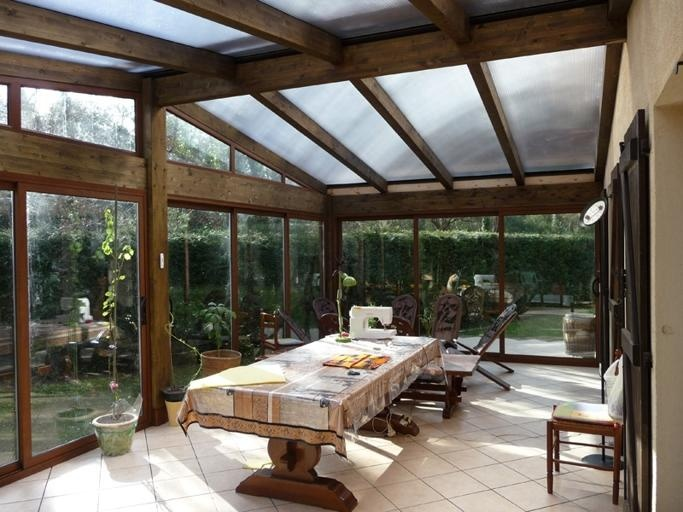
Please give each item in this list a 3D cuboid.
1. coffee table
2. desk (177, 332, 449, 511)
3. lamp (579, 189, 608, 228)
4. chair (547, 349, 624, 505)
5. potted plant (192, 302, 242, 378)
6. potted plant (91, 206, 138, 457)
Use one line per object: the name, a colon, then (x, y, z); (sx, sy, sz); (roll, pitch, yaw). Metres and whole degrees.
coffee table: (1.188, 1.544, 6.002); (0.788, 0.585, 1.380); (-1, 0, 23)
desk: (-0.406, 1.178, 3.782); (1.215, 0.564, 2.078); (0, 0, 20)
lamp: (2.732, -0.487, 5.164); (0.198, 0.273, 0.562); (0, 2, 13)
chair: (2.043, 1.350, 4.038); (0.574, 1.236, 1.065); (1, 3, 29)
potted plant: (-1.591, 1.124, 6.002); (0.645, 1.014, 0.581); (4, -3, -20)
potted plant: (-2.320, 0.700, 4.912); (0.459, 2.498, 0.770); (-2, 3, -22)
